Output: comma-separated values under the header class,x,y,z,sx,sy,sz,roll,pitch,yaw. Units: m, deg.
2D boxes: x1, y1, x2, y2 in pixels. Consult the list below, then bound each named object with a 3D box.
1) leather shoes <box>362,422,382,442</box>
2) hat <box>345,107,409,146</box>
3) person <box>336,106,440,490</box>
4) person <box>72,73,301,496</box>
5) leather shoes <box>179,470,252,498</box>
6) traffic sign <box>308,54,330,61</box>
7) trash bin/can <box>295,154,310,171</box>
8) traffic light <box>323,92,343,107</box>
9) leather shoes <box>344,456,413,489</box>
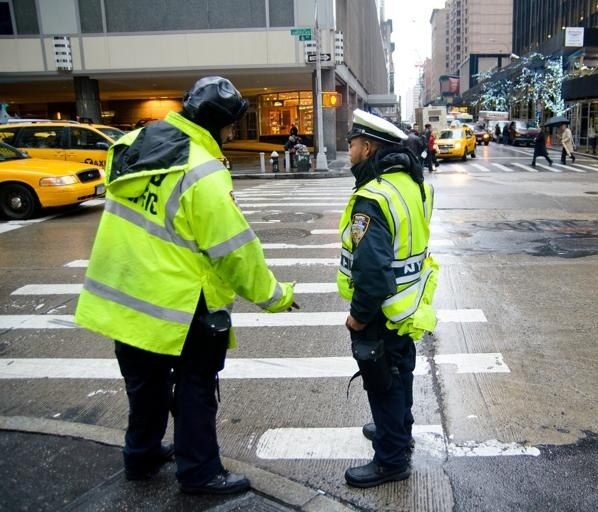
class,x,y,z,sx,sy,sz,roll,pitch,yaw
leather shoes,0.500,1.215,3.837,0.102,0.089,0.233,3,16,7
hat,0.480,-0.764,3.315,0.284,0.111,0.233,15,22,4
person,0.533,0.272,3.349,0.596,2.214,0.721,2,17,13
person,-0.676,0.233,3.106,1.117,2.305,0.506,-3,17,-2
leather shoes,-0.490,1.307,3.218,0.406,0.150,0.150,-1,1,-8
traffic sign,1.033,-9.904,27.802,0.449,0.437,1.469,13,22,40
trash bin/can,0.164,-4.085,24.378,0.875,0.824,0.650,-2,10,-4
traffic light,1.503,-6.848,24.316,0.887,0.304,0.635,1,2,13
leather shoes,0.481,1.307,3.420,0.424,0.158,0.151,0,7,-9
